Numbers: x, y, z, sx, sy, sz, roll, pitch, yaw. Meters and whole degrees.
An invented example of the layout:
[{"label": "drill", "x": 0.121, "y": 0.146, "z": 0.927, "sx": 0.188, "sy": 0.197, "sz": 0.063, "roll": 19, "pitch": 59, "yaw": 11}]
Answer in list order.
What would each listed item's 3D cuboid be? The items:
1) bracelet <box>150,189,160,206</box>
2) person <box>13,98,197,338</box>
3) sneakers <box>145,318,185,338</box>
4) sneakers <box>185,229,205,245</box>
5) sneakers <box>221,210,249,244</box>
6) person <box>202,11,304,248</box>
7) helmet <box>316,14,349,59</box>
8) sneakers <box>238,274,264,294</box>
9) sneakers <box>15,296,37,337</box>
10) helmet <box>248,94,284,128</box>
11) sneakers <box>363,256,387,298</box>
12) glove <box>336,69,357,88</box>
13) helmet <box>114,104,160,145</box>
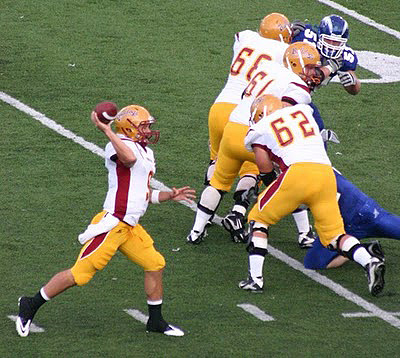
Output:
[{"label": "bracelet", "x": -0.389, "y": 0.157, "z": 7.601, "sx": 0.083, "sy": 0.106, "sz": 0.095, "roll": 1, "pitch": 70, "yaw": -11}, {"label": "person", "x": -0.825, "y": 0.282, "z": 7.243, "sx": 1.245, "sy": 1.495, "sz": 1.508, "roll": 3, "pitch": 45, "yaw": -5}, {"label": "sneakers", "x": -0.280, "y": 1.238, "z": 7.299, "sx": 0.372, "sy": 0.146, "sz": 0.122, "roll": 1, "pitch": 8, "yaw": 0}, {"label": "sneakers", "x": -0.042, "y": 0.545, "z": 8.419, "sx": 0.106, "sy": 0.083, "sz": 0.191, "roll": 10, "pitch": 25, "yaw": 13}, {"label": "sneakers", "x": 0.337, "y": 0.458, "z": 8.483, "sx": 0.155, "sy": 0.410, "sz": 0.201, "roll": -27, "pitch": 26, "yaw": 25}, {"label": "person", "x": 0.317, "y": -0.497, "z": 8.634, "sx": 0.769, "sy": 2.368, "sz": 0.725, "roll": 15, "pitch": 1, "yaw": -1}, {"label": "helmet", "x": 1.299, "y": -1.465, "z": 8.756, "sx": 0.326, "sy": 0.413, "sz": 0.411, "roll": 4, "pitch": 48, "yaw": -5}, {"label": "sneakers", "x": 0.452, "y": 0.922, "z": 7.803, "sx": 0.103, "sy": 0.128, "sz": 0.277, "roll": -2, "pitch": 7, "yaw": -39}, {"label": "sneakers", "x": -1.416, "y": 1.114, "z": 7.177, "sx": 0.166, "sy": 0.343, "sz": 0.128, "roll": -9, "pitch": -9, "yaw": 25}, {"label": "helmet", "x": 0.597, "y": -0.638, "z": 7.816, "sx": 0.293, "sy": 0.288, "sz": 0.229, "roll": 18, "pitch": 66, "yaw": 25}, {"label": "sneakers", "x": 1.457, "y": 0.805, "z": 7.351, "sx": 0.131, "sy": 0.337, "sz": 0.171, "roll": -15, "pitch": 25, "yaw": -27}, {"label": "glove", "x": 1.484, "y": -1.016, "z": 8.911, "sx": 0.084, "sy": 0.121, "sz": 0.185, "roll": -25, "pitch": 0, "yaw": -14}, {"label": "helmet", "x": -0.533, "y": -0.456, "z": 7.466, "sx": 0.380, "sy": 0.282, "sz": 0.305, "roll": 9, "pitch": 15, "yaw": 6}]
